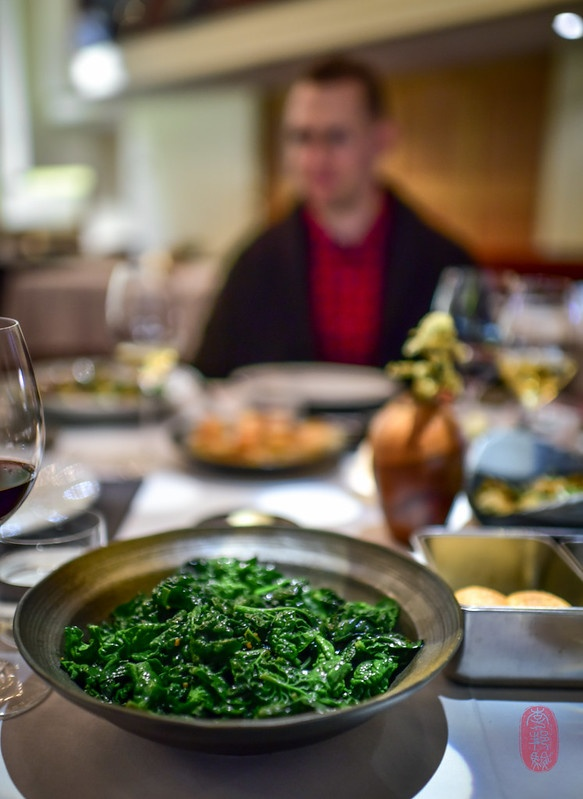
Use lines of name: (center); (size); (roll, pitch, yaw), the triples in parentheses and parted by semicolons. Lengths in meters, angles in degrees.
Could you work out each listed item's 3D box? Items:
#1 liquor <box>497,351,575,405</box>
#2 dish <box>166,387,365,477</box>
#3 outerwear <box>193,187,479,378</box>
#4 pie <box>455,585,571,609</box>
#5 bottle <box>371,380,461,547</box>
liquor: (0.340, -0.029, 1.056); (0.091, 0.033, 0.093); (24, 36, 35)
dish: (-0.060, 0.062, 1.110); (0.241, 0.049, 0.213); (13, 38, 19)
outerwear: (0.086, -0.139, 1.003); (0.470, 0.188, 0.116); (-2, 1, -7)
pie: (0.191, 0.172, 0.638); (0.069, 0.009, 0.046); (-2, -2, 8)
bottle: (0.131, 0.065, 0.799); (0.121, 0.158, 0.044); (1, 15, 9)
